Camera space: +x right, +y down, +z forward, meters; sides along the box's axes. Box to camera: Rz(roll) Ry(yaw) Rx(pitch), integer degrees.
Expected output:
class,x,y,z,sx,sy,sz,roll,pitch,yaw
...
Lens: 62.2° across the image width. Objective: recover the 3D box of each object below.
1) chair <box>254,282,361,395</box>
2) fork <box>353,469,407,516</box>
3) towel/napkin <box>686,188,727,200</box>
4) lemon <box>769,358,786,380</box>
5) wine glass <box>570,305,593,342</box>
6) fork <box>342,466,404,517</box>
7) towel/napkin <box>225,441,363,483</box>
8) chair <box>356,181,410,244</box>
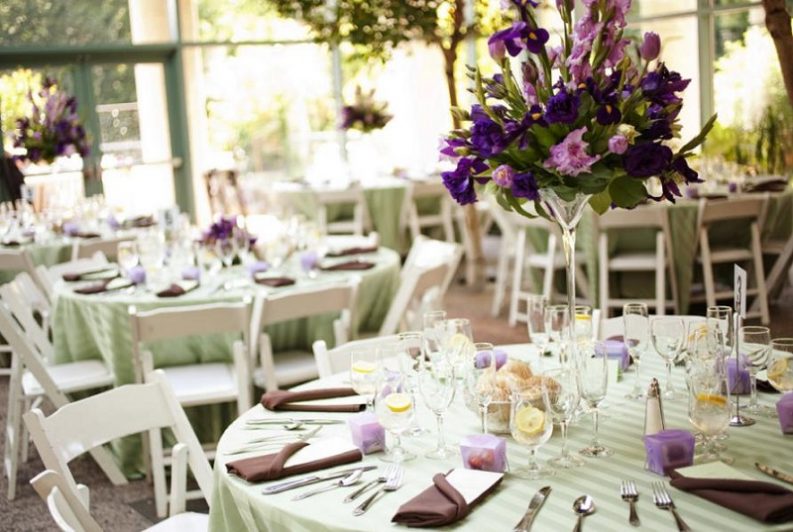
class,x,y,z,sx,sy,sz,roll,pitch,yaw
chair,-0.499,0.266,3.810,0.460,0.910,0.642,-8,25,-23
fork,-0.046,0.657,1.902,0.052,0.035,0.228,5,27,31
towel/napkin,2.586,-0.602,5.508,0.198,0.074,0.171,2,0,-5
lemon,1.294,0.356,2.235,0.052,0.066,0.054,-7,16,-17
wine glass,0.673,0.218,2.404,0.094,0.158,0.102,-2,10,2
fork,-0.053,0.657,1.901,0.053,0.038,0.239,11,23,23
towel/napkin,-0.322,0.613,2.043,0.233,0.046,0.167,-8,9,-29
chair,-0.114,-0.523,7.405,0.499,0.791,0.275,-4,10,-3
